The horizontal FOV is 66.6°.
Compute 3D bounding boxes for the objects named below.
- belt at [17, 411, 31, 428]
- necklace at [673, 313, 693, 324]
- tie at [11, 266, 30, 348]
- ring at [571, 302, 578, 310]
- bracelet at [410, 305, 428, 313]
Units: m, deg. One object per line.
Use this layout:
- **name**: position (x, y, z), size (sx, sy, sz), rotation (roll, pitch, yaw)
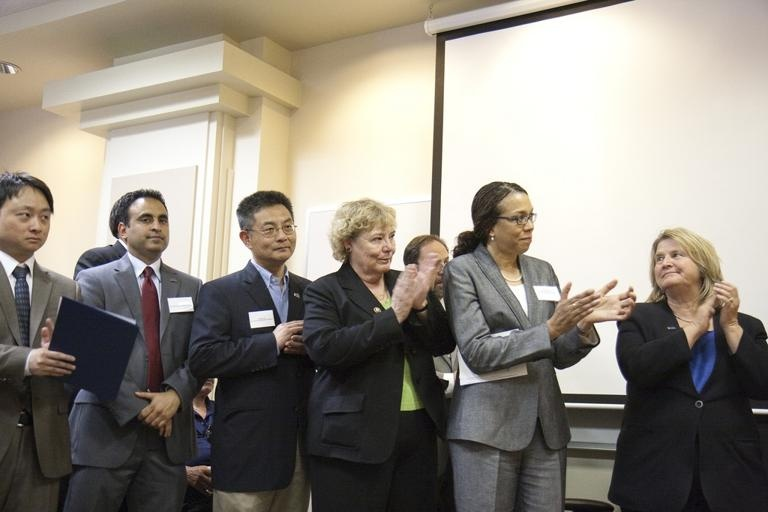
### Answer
- **belt**: position (-2.015, 0.912, 3.280), size (0.069, 0.095, 0.019), rotation (5, -5, -31)
- **necklace**: position (1.779, 0.374, 3.461), size (0.060, 0.046, 0.059), rotation (19, -25, -2)
- **tie**: position (-2.078, 0.282, 3.365), size (0.090, 0.485, 0.080), rotation (0, -11, -6)
- **ring**: position (0.974, 0.250, 2.973), size (0.022, 0.021, 0.022), rotation (0, -2, 0)
- **bracelet**: position (0.210, 0.309, 3.354), size (0.049, 0.040, 0.065), rotation (-22, -41, 24)
